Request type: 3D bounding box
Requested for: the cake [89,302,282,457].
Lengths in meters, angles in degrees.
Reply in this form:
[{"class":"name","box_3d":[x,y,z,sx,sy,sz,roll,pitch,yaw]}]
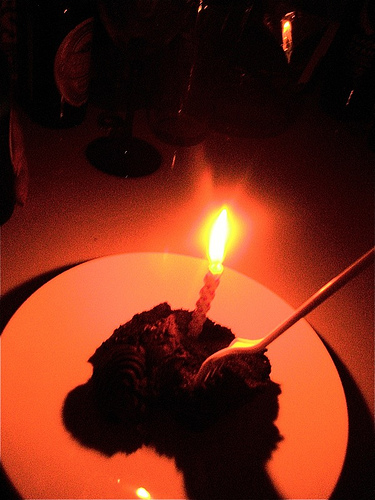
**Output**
[{"class":"cake","box_3d":[-0.005,0.127,0.441,0.127,0.048,0.136,19,39,-19]}]
